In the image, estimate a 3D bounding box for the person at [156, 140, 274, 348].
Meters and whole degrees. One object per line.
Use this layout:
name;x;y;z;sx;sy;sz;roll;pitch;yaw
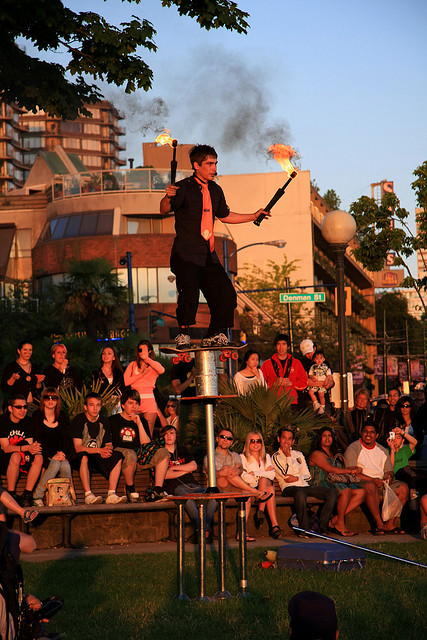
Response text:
person;-0.053;-0.590;6.759;0.676;1.586;1.134;-2;3;15

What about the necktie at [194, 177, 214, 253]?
necktie;-0.074;-0.814;6.761;0.123;0.585;0.230;-3;3;0

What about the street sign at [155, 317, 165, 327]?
street sign;-2.401;0.085;39.779;0.133;0.465;0.471;-6;4;-34

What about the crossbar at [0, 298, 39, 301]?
crossbar;-9.107;-1.001;41.233;1.854;0.093;1.005;-5;4;-32

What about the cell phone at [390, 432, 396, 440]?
cell phone;2.457;1.583;12.214;0.075;0.074;0.025;0;-5;30

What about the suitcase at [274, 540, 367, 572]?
suitcase;1.020;2.270;8.475;0.884;0.244;0.525;-3;3;5

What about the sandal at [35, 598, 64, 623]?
sandal;-0.884;1.563;4.766;0.046;0.063;0.197;30;33;33

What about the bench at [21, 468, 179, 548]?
bench;-1.398;2.373;11.098;1.740;0.797;1.535;-4;4;-13

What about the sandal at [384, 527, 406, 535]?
sandal;2.305;2.667;11.271;0.232;0.062;0.096;-4;-5;26

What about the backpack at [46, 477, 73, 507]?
backpack;-1.885;2.080;10.729;0.311;0.314;0.234;-4;3;-10

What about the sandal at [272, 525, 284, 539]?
sandal;0.784;2.594;10.912;0.124;0.143;0.247;-3;3;4

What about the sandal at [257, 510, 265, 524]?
sandal;0.587;2.465;11.134;0.084;0.176;0.121;0;3;2
